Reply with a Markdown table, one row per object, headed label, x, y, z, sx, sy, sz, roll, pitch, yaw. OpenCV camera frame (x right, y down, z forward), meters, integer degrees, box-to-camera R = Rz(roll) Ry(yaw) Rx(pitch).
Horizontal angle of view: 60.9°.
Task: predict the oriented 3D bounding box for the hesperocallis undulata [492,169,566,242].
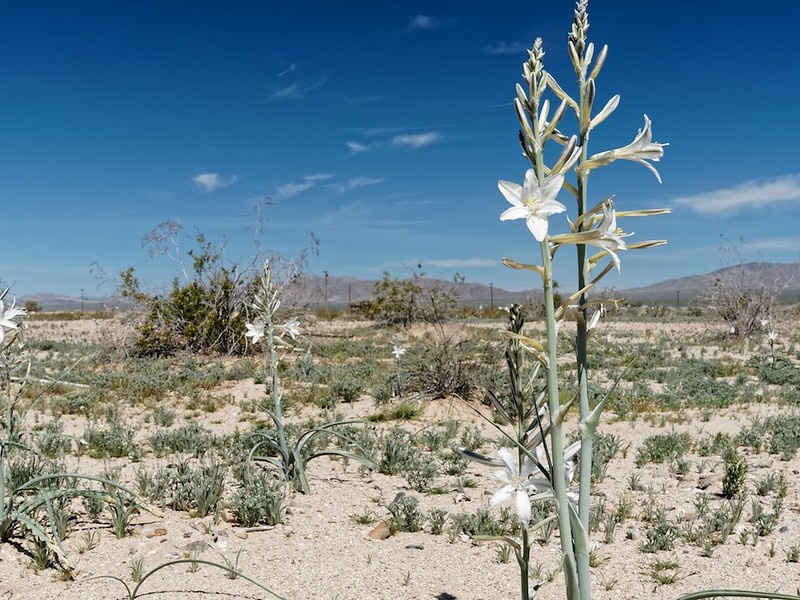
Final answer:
| label | x | y | z | sx | sy | sz | roll | pitch | yaw |
| --- | --- | --- | --- | --- | --- | --- | --- | --- | --- |
| hesperocallis undulata | 0.880 | -0.726 | 4.630 | 0.352 | 0.161 | 0.462 | 8 | -6 | -18 |

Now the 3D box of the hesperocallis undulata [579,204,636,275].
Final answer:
| label | x | y | z | sx | sy | sz | roll | pitch | yaw |
| --- | --- | --- | --- | --- | --- | --- | --- | --- | --- |
| hesperocallis undulata | 1.372 | -0.446 | 4.549 | 0.214 | 0.307 | 0.313 | 7 | -7 | -1 |

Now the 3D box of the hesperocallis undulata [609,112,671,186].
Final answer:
| label | x | y | z | sx | sy | sz | roll | pitch | yaw |
| --- | --- | --- | --- | --- | --- | --- | --- | --- | --- |
| hesperocallis undulata | 1.602 | -1.007 | 4.865 | 0.540 | 0.401 | 0.384 | -18 | -7 | 28 |

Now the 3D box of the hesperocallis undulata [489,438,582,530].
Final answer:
| label | x | y | z | sx | sy | sz | roll | pitch | yaw |
| --- | --- | --- | --- | --- | --- | --- | --- | --- | --- |
| hesperocallis undulata | 0.976 | 1.272 | 4.867 | 0.601 | 0.593 | 0.933 | -2 | -2 | 15 |
